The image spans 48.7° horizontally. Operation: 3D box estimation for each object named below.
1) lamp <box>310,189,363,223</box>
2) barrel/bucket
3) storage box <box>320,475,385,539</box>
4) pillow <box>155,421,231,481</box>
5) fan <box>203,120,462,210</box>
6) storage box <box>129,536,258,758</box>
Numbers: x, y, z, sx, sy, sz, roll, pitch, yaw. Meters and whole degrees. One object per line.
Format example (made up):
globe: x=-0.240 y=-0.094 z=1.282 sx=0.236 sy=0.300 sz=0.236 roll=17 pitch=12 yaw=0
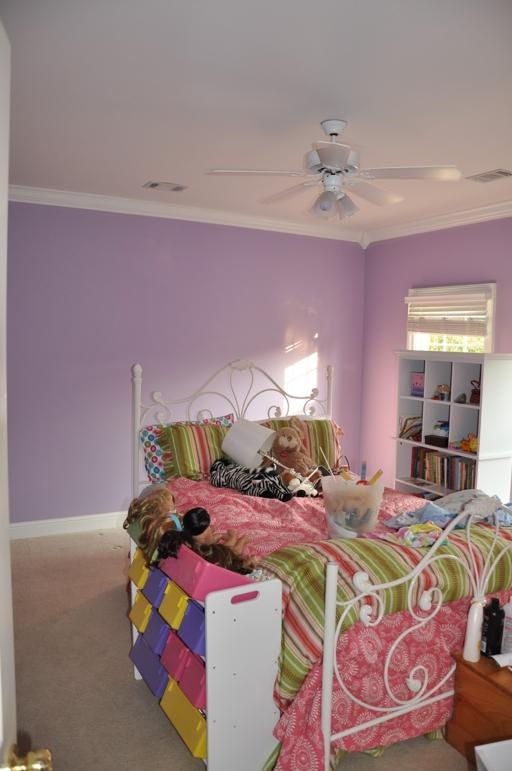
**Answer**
lamp: x=0.332 y=-0.758 z=2.392 sx=0.151 sy=0.062 sz=0.149 roll=0 pitch=0 yaw=-19
barrel/bucket: x=0.362 y=0.438 z=2.089 sx=0.205 sy=0.192 sz=0.234 roll=-1 pitch=-6 yaw=23
storage box: x=0.369 y=0.454 z=2.142 sx=0.208 sy=0.191 sz=0.236 roll=0 pitch=-7 yaw=11
pillow: x=-0.340 y=0.348 z=3.023 sx=0.294 sy=0.304 sz=0.077 roll=3 pitch=-20 yaw=-21
fan: x=0.312 y=-0.825 z=2.194 sx=0.751 sy=0.222 sz=0.670 roll=-2 pitch=4 yaw=-9
storage box: x=-0.180 y=0.793 z=1.715 sx=0.267 sy=0.590 sz=0.683 roll=-2 pitch=3 yaw=-20
